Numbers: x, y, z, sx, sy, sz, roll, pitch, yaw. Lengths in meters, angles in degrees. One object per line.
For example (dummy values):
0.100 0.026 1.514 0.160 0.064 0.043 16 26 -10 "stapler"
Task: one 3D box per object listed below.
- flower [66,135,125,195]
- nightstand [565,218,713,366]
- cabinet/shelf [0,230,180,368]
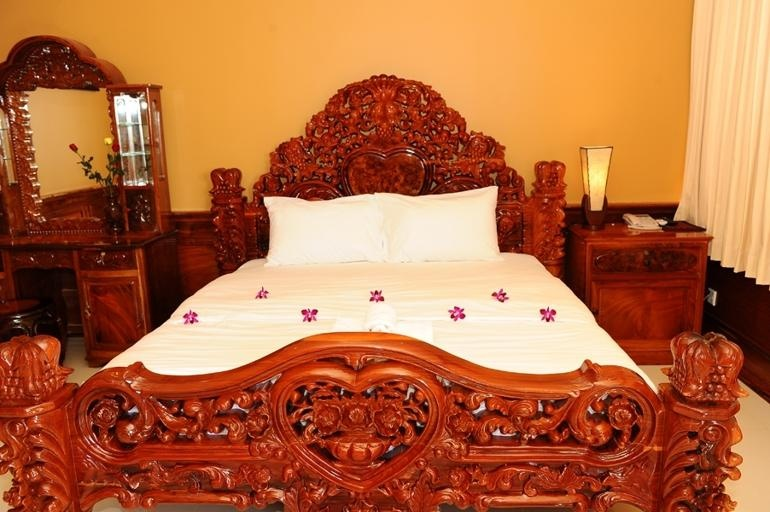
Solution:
-2.233 -0.727 4.754 0.323 0.452 0.181 -17 -13 -18 "flower"
1.930 0.248 4.682 0.837 1.078 0.643 -1 25 16 "nightstand"
-2.196 0.248 4.890 1.467 1.368 0.944 0 7 -2 "cabinet/shelf"
